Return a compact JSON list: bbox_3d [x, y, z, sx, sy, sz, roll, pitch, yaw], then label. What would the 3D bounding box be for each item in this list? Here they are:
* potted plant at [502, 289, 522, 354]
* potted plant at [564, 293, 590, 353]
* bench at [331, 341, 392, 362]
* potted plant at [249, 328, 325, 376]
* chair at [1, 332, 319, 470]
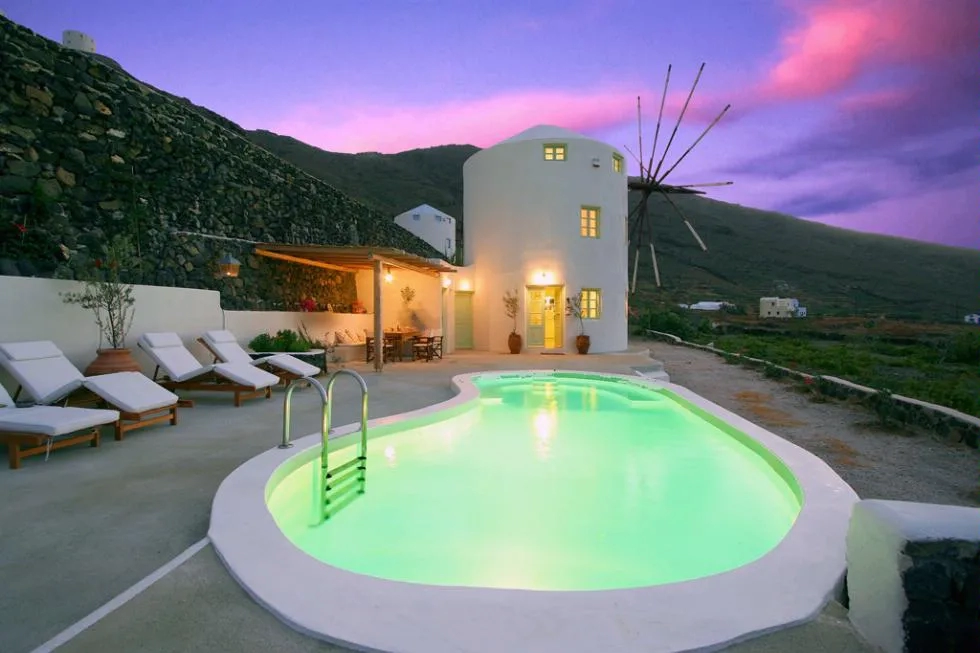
[{"bbox_3d":[0.755,-0.221,17.830,0.622,2.137,0.457,-2,4,7],"label":"potted plant"},{"bbox_3d":[2.980,-0.125,17.717,0.690,1.979,0.577,-1,5,27],"label":"potted plant"},{"bbox_3d":[-3.855,0.702,14.822,0.770,0.562,1.623,-2,2,14],"label":"bench"},{"bbox_3d":[-4.367,0.411,11.292,1.265,0.479,1.315,2,-4,-1],"label":"potted plant"},{"bbox_3d":[-4.974,0.725,7.935,1.880,1.275,3.281,-2,2,21],"label":"chair"}]
